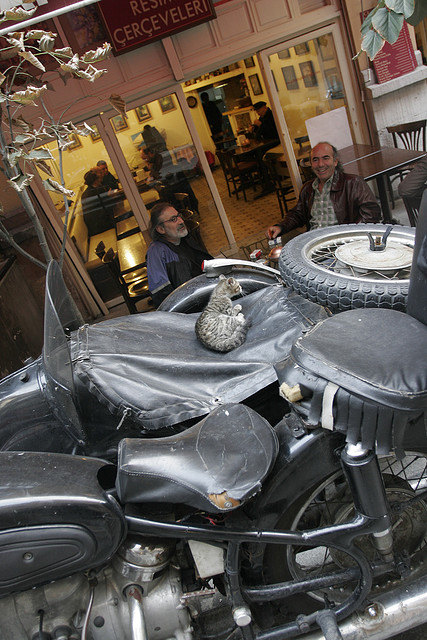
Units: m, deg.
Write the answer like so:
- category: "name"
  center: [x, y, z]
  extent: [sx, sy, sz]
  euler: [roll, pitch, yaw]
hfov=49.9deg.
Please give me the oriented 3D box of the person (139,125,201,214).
- category: "person"
  center: [-0.640, -1.949, 6.063]
  extent: [0.382, 1.194, 0.323]
  euler: [-21, 17, 17]

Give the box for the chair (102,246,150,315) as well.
- category: "chair"
  center: [-1.097, -0.531, 5.777]
  extent: [0.496, 0.761, 0.506]
  euler: [-12, 46, 3]

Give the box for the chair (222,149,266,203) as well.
- category: "chair"
  center: [0.600, -2.938, 9.052]
  extent: [0.659, 0.960, 0.622]
  euler: [-19, 21, -3]

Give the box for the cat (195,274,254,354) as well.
- category: "cat"
  center: [0.042, -0.021, 2.220]
  extent: [0.238, 0.199, 0.443]
  euler: [-12, 35, 16]
